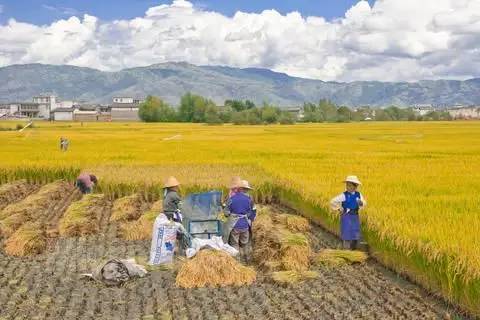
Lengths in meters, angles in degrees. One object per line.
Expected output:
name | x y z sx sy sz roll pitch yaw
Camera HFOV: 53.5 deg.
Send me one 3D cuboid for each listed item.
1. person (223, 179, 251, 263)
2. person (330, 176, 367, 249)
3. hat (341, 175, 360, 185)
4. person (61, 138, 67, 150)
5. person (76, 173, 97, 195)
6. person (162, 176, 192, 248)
person | -0.016 1.808 13.916 0.858 2.359 0.436 -2 9 -2
person | 3.283 1.570 14.368 0.962 2.278 0.711 1 9 17
hat | 3.327 0.607 14.036 0.382 0.279 0.318 0 9 9
person | -12.071 -1.066 32.640 0.370 0.671 1.286 -5 -19 -16
person | -5.985 0.905 18.610 0.853 0.885 0.707 -5 3 17
person | -1.848 1.663 14.115 0.941 2.114 0.823 -1 9 7
